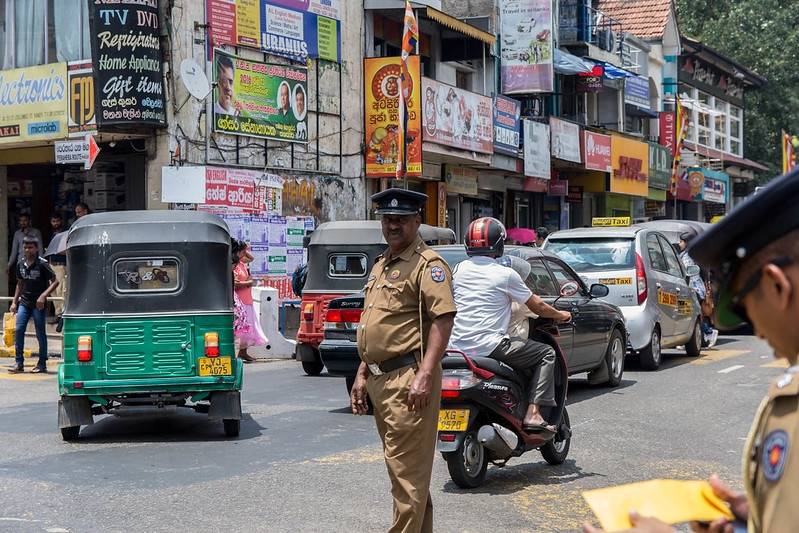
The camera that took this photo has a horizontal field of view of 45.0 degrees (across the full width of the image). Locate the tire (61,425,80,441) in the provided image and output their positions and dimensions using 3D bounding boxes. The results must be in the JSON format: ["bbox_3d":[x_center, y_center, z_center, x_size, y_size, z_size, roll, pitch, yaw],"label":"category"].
[{"bbox_3d":[-3.999,1.994,11.644,0.188,0.210,0.082,1,2,-23],"label":"tire"}]

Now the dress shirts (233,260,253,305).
[{"bbox_3d":[-2.837,0.297,17.344,0.295,0.910,0.678,-4,-6,0],"label":"dress shirts"}]

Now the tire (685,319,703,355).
[{"bbox_3d":[5.443,1.288,17.757,0.198,0.681,0.641,-2,-4,20],"label":"tire"}]

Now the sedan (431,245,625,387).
[{"bbox_3d":[2.131,0.715,13.990,1.661,1.529,2.703,0,2,37],"label":"sedan"}]

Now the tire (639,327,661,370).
[{"bbox_3d":[4.214,1.317,16.032,0.173,0.861,0.820,-6,-22,27],"label":"tire"}]

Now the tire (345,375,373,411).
[{"bbox_3d":[-0.605,1.721,13.556,0.211,0.785,0.743,-12,-4,-4],"label":"tire"}]

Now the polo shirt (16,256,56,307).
[{"bbox_3d":[-6.407,0.246,16.876,0.669,0.837,0.437,12,17,11],"label":"polo shirt"}]

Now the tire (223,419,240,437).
[{"bbox_3d":[-2.069,1.958,11.848,0.187,0.238,0.221,-1,4,-10],"label":"tire"}]

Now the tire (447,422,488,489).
[{"bbox_3d":[0.685,1.882,9.728,0.202,0.689,0.640,-1,0,39],"label":"tire"}]

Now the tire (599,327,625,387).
[{"bbox_3d":[3.169,1.331,14.377,0.263,0.909,0.851,-5,-3,29],"label":"tire"}]

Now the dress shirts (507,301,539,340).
[{"bbox_3d":[1.354,0.578,10.505,0.342,0.480,0.376,-3,4,-40],"label":"dress shirts"}]
